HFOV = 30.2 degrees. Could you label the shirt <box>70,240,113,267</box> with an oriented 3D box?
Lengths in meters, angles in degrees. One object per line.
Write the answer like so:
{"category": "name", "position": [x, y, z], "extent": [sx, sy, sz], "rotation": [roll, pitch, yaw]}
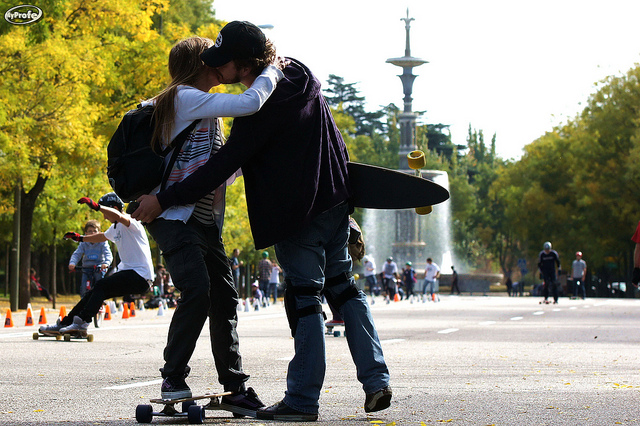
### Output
{"category": "shirt", "position": [-4.510, 0.843, 23.283], "extent": [0.791, 0.752, 0.517], "rotation": [1, -18, -5]}

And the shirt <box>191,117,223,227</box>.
{"category": "shirt", "position": [-1.447, -0.513, 14.650], "extent": [0.470, 1.303, 0.392], "rotation": [2, 1, 32]}

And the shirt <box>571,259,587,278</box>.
{"category": "shirt", "position": [9.260, 1.997, 42.347], "extent": [0.382, 0.607, 0.525], "rotation": [-3, -7, 6]}

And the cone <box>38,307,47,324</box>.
{"category": "cone", "position": [-5.704, 2.097, 24.244], "extent": [0.165, 0.363, 0.739], "rotation": [-1, -7, -13]}

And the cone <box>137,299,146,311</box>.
{"category": "cone", "position": [-5.231, 2.712, 34.556], "extent": [0.298, 0.397, 0.298], "rotation": [1, -3, -21]}

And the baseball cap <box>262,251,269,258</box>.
{"category": "baseball cap", "position": [-2.031, 1.556, 43.331], "extent": [0.253, 0.348, 0.269], "rotation": [0, 30, 3]}
